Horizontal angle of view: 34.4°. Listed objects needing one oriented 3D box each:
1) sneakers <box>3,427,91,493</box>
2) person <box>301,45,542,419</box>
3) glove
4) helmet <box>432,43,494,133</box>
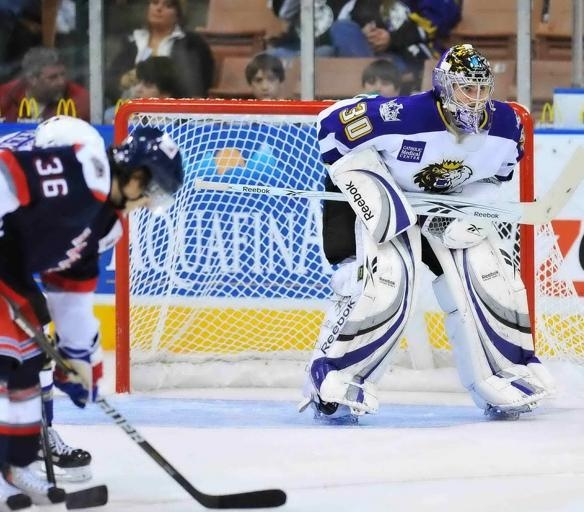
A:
[{"bbox_3d":[-0.706,0.589,2.738,0.242,0.161,0.091,2,9,27],"label":"sneakers"},{"bbox_3d":[0.464,-0.072,3.182,0.850,1.242,0.462,1,13,0],"label":"person"},{"bbox_3d":[-0.620,0.328,2.703,0.141,0.206,0.080,1,10,-3],"label":"glove"},{"bbox_3d":[0.549,-0.571,3.188,0.195,0.280,0.272,1,32,-12],"label":"helmet"}]
